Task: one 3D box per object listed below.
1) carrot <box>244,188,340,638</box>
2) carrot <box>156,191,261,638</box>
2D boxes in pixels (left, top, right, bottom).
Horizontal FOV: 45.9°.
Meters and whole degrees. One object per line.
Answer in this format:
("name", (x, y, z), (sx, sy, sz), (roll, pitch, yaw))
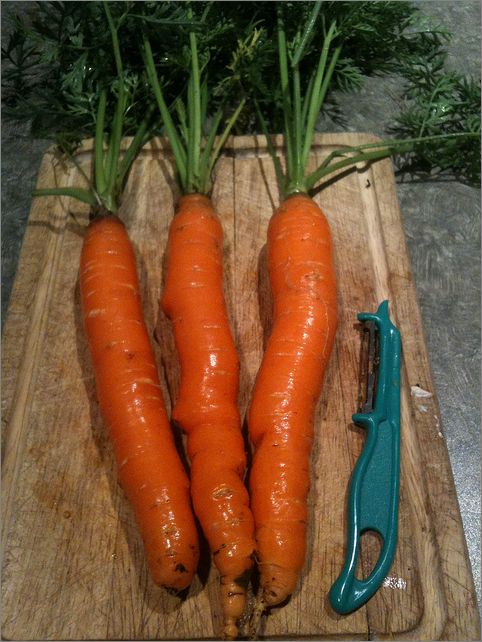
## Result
("carrot", (0.091, 0.137, 1.146), (0.130, 0.135, 0.870), (25, 54, -33))
("carrot", (-0.067, 0.112, 1.091), (0.152, 0.105, 0.849), (-2, 64, -7))
